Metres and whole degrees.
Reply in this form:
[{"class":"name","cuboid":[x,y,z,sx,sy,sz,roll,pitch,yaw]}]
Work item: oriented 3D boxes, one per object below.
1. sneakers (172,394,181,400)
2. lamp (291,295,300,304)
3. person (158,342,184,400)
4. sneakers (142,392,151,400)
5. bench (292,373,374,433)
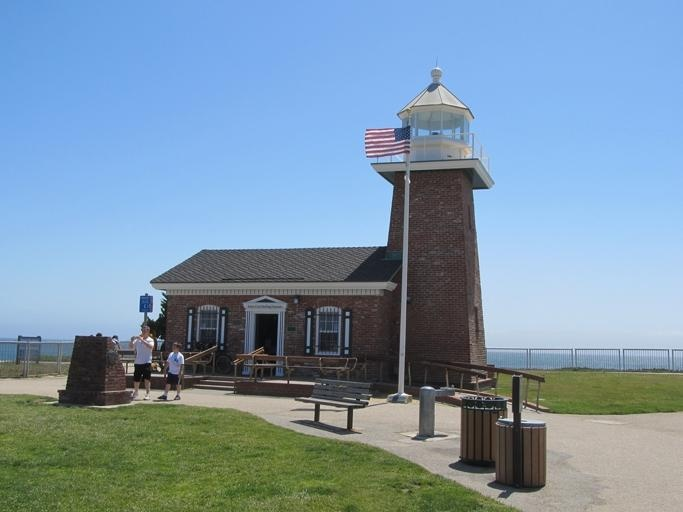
[{"class":"sneakers","cuboid":[-5.114,4.407,18.197,0.145,0.158,0.388,0,-13,-2]},{"class":"lamp","cuboid":[-2.004,1.916,25.577,0.362,0.374,0.135,-2,-10,13]},{"class":"person","cuboid":[-5.353,3.624,18.438,0.691,1.708,1.457,3,-10,-16]},{"class":"sneakers","cuboid":[-5.871,4.245,17.771,0.265,0.289,0.693,2,-11,-17]},{"class":"bench","cuboid":[-0.243,3.697,14.669,0.740,0.998,2.147,4,-9,-39]}]
